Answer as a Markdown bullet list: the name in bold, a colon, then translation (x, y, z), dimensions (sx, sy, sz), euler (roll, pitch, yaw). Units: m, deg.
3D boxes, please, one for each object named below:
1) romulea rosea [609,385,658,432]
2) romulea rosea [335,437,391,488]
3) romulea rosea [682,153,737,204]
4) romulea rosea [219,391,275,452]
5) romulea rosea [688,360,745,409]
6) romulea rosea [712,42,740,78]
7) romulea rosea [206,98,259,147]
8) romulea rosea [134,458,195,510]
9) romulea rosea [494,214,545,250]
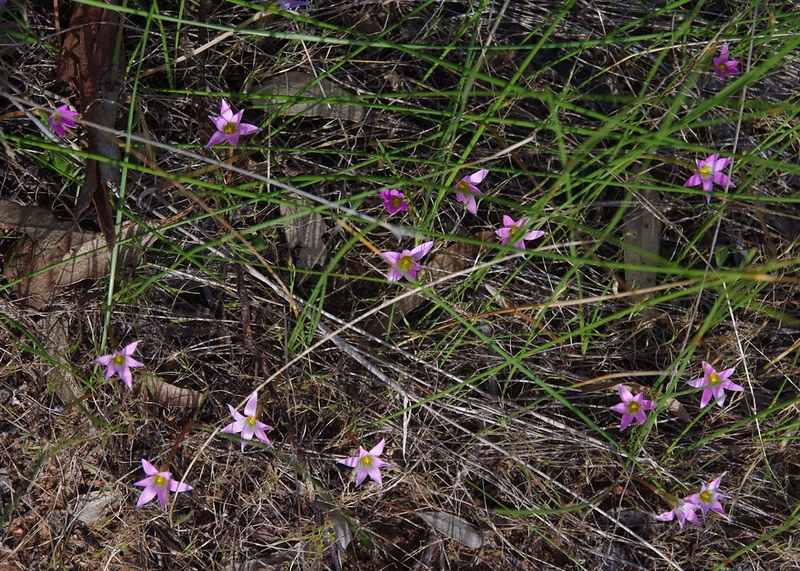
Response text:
- **romulea rosea**: translation (0.870, 0.453, 2.546), dimensions (0.154, 0.082, 0.189), euler (20, 63, -16)
- **romulea rosea**: translation (-0.124, 0.676, 2.535), dimensions (0.184, 0.277, 0.142), euler (-6, 57, -12)
- **romulea rosea**: translation (1.195, -0.406, 2.643), dimensions (0.191, 0.091, 0.202), euler (14, 91, 14)
- **romulea rosea**: translation (-0.542, 0.491, 2.482), dimensions (0.219, 0.272, 0.107), euler (22, 100, -6)
- **romulea rosea**: translation (1.205, 0.371, 2.592), dimensions (0.188, 0.204, 0.063), euler (-32, 81, -4)
- **romulea rosea**: translation (1.311, -0.887, 2.738), dimensions (0.124, 0.056, 0.116), euler (2, 102, 0)
- **romulea rosea**: translation (-0.617, -0.580, 2.500), dimensions (0.198, 0.087, 0.204), euler (-9, 81, 5)
- **romulea rosea**: translation (-0.856, 0.701, 2.442), dimensions (0.181, 0.077, 0.213), euler (-7, 67, 4)
- **romulea rosea**: translation (0.455, -0.203, 2.606), dimensions (0.164, 0.079, 0.134), euler (-3, 102, 17)
